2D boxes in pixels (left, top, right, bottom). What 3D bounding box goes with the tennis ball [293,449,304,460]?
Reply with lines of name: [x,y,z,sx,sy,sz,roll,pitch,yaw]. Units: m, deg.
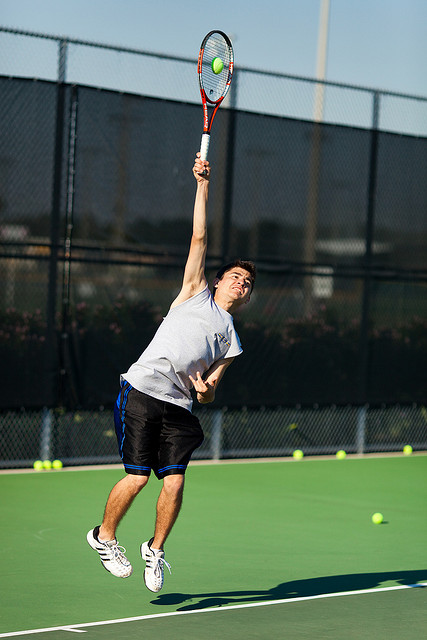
tennis ball: [0.727,1.147,7.138,0.116,0.079,0.061,2,0,-37]

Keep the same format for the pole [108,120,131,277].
pole: [-0.688,-1.025,6.328,0.116,0.964,0.032,1,0,-20]

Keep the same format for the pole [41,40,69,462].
pole: [-1.156,-0.491,6.134,0.121,2.625,0.160,1,0,-13]

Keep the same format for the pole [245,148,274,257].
pole: [0.366,-0.956,6.830,0.261,0.829,0.052,1,0,-35]

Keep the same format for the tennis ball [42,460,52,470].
tennis ball: [-1.224,1.076,6.204,0.066,0.067,0.057,-30,-13,32]

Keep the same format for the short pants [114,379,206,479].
short pants: [-0.218,0.483,3.535,0.306,0.536,0.256,4,-41,-5]

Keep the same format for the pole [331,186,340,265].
pole: [1.047,-0.812,7.208,0.078,0.657,0.023,1,1,-40]

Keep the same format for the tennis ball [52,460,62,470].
tennis ball: [-1.155,1.078,6.229,0.050,0.082,0.059,-1,-8,0]

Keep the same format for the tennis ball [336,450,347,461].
tennis ball: [1.110,1.174,7.251,0.066,0.075,0.068,-5,-20,-2]

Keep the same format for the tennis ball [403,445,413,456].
tennis ball: [1.752,1.186,7.611,0.061,0.087,0.072,8,36,-28]

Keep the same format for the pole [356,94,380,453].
pole: [1.362,-0.409,7.410,0.141,3.128,0.053,1,0,-33]

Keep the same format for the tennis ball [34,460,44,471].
tennis ball: [-1.284,1.074,6.189,0.053,0.081,0.058,9,25,34]

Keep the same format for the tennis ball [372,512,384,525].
tennis ball: [0.998,1.212,5.136,0.055,0.040,0.051,2,-32,1]

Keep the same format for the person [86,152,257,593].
person: [-0.168,0.232,3.560,0.656,1.653,0.479,2,0,3]
